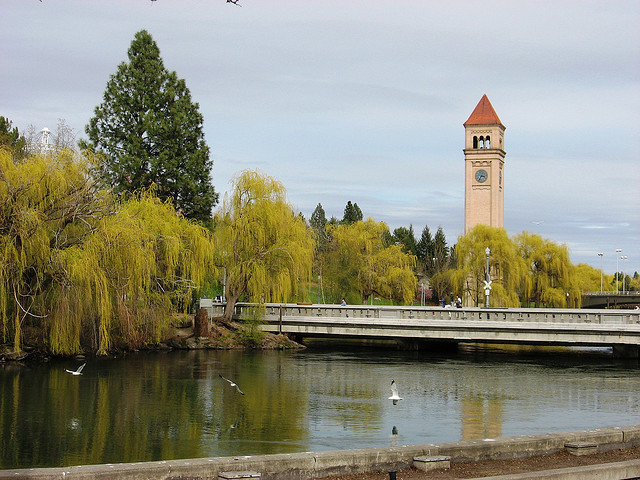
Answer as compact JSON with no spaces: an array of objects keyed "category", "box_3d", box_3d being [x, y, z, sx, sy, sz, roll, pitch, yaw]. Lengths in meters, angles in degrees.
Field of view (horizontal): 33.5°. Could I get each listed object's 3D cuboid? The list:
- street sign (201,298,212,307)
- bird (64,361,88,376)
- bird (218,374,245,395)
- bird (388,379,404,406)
[{"category":"street sign","box_3d":[-6.875,3.847,64.637,0.635,0.500,0.983,1,-6,-8]},{"category":"bird","box_3d":[-11.528,6.261,50.676,0.800,0.359,0.583,-21,-7,5]},{"category":"bird","box_3d":[-3.732,6.374,46.077,0.279,0.640,1.878,-12,17,-19]},{"category":"bird","box_3d":[3.209,6.238,44.741,0.841,1.820,0.248,1,25,5]}]
